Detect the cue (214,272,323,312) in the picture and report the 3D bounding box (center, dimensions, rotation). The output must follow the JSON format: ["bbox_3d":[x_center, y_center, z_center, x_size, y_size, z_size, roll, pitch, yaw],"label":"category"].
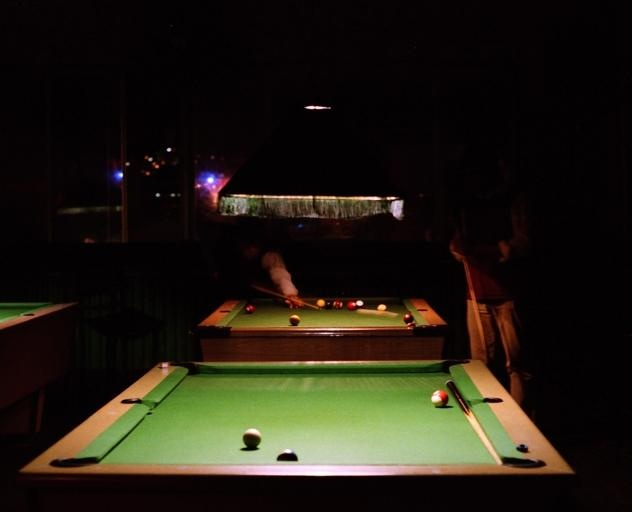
[{"bbox_3d":[-0.485,0.324,4.890,1.428,0.113,0.102,15,3,42],"label":"cue"}]

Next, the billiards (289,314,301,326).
[{"bbox_3d":[-0.123,0.402,3.506,0.058,0.060,0.070,12,-27,41],"label":"billiards"}]

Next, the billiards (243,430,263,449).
[{"bbox_3d":[-0.243,0.699,2.076,0.066,0.079,0.067,7,13,4],"label":"billiards"}]

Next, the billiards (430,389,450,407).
[{"bbox_3d":[0.557,0.639,2.460,0.066,0.067,0.077,27,-40,-6],"label":"billiards"}]

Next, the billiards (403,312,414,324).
[{"bbox_3d":[0.599,0.407,3.518,0.048,0.050,0.066,0,14,8],"label":"billiards"}]
